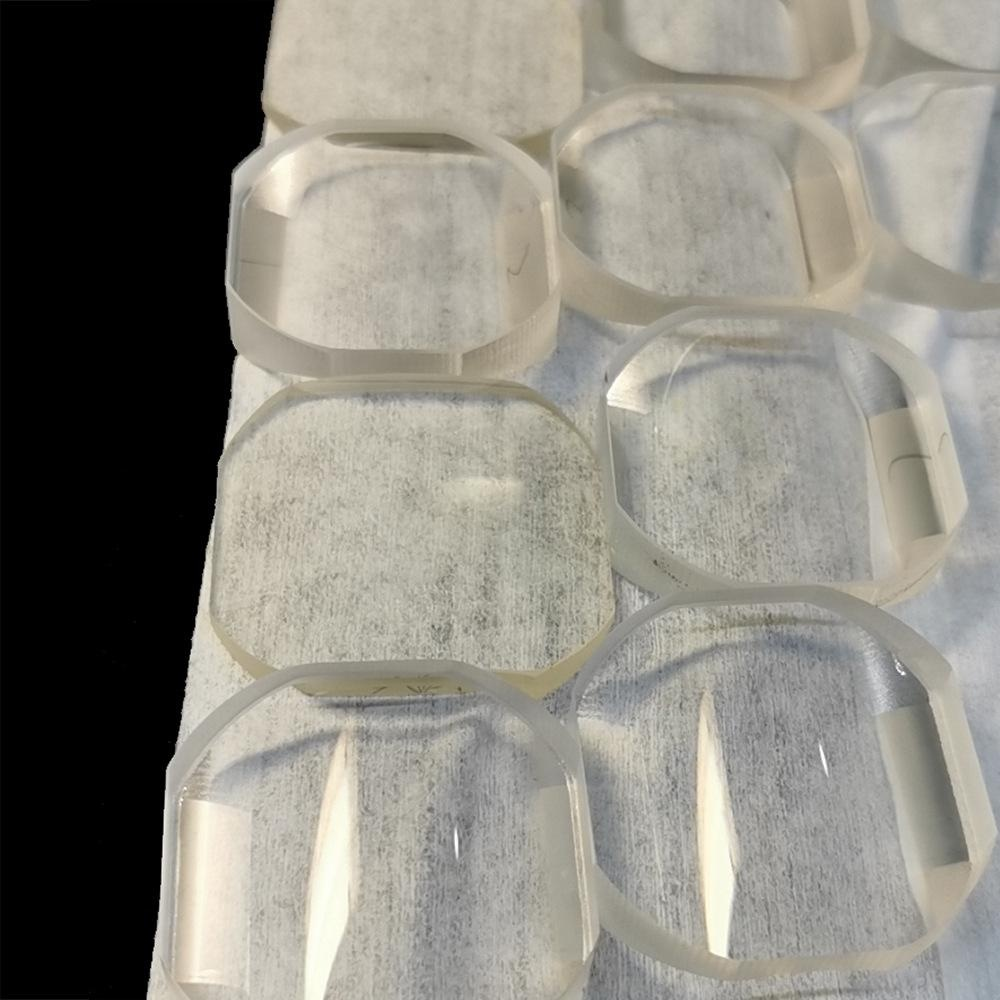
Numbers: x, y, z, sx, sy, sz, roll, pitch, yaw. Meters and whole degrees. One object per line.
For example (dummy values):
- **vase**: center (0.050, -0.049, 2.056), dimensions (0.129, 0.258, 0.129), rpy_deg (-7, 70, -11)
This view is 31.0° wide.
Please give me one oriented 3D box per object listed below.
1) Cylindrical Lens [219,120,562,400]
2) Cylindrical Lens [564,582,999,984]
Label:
- **Cylindrical Lens**: center (-0.079, -0.188, 1.328), dimensions (0.238, 0.079, 0.227), rpy_deg (-1, 66, 3)
- **Cylindrical Lens**: center (0.174, 0.175, 1.150), dimensions (0.250, 0.052, 0.255), rpy_deg (-1, 66, 3)
